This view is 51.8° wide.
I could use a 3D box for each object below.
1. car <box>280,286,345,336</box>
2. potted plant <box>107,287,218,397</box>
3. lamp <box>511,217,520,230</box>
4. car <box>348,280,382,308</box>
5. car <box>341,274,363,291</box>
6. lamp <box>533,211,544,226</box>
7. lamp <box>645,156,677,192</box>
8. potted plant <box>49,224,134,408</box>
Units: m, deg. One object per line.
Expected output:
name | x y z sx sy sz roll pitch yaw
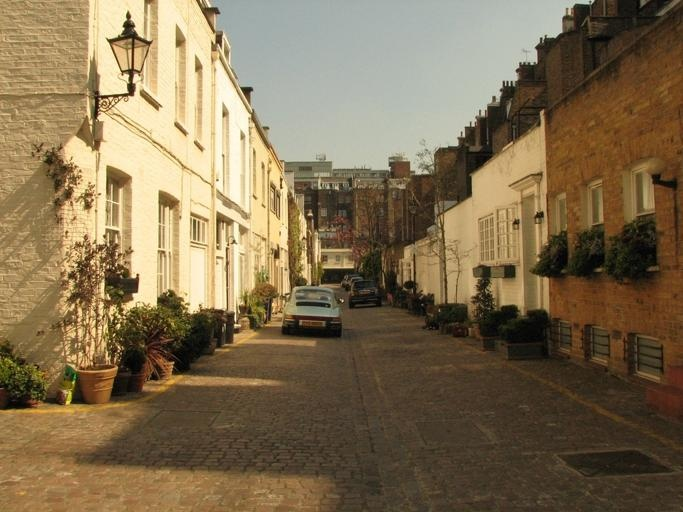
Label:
car | -0.848 1.792 21.695 1.781 1.486 1.957 -3 4 -43
potted plant | -3.589 1.609 13.342 0.908 1.594 1.306 14 4 38
lamp | 4.653 -0.858 18.790 0.216 0.456 0.261 0 -1 -13
car | 1.315 2.241 40.190 1.161 1.112 3.075 -1 2 0
car | 0.809 2.194 57.237 1.170 1.038 2.916 0 -7 -3
lamp | 4.831 -0.935 17.295 0.229 0.416 0.216 0 0 -2
lamp | 5.334 -1.346 11.696 0.444 0.533 0.753 2 3 31
potted plant | -4.138 1.016 11.912 0.764 2.766 1.213 1 3 19
